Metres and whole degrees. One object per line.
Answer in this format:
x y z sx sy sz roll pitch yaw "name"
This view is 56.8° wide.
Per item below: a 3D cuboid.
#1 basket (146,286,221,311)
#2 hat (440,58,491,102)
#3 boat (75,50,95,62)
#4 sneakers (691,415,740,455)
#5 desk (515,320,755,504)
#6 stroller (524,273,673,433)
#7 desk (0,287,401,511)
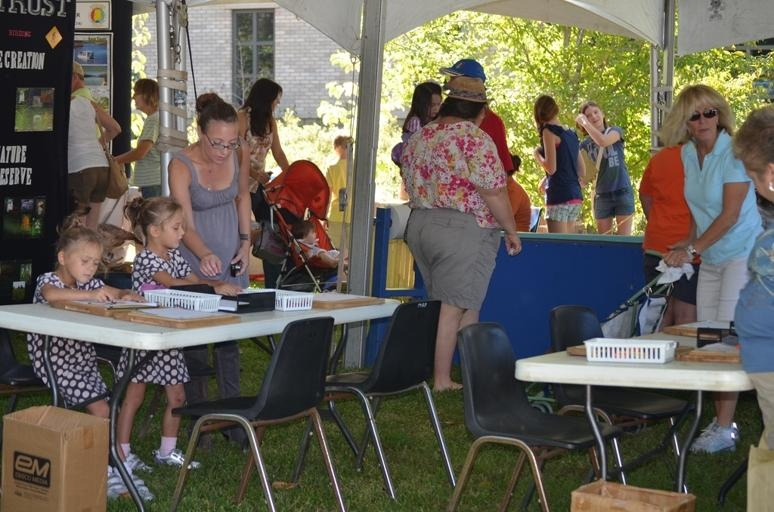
-1.123 0.242 3.933 0.326 0.078 0.170 6 4 30 "basket"
0.596 -1.331 5.458 0.404 0.233 0.253 22 5 -7 "hat"
-3.734 -2.465 8.882 0.256 0.111 0.141 6 7 41 "boat"
2.185 1.173 4.694 0.439 0.204 0.160 -3 8 -12 "sneakers"
1.228 0.639 3.528 0.767 0.521 0.807 2 6 20 "desk"
1.283 0.612 4.466 0.812 1.153 0.943 2 -8 -40 "stroller"
-0.976 0.734 3.893 1.941 0.946 0.995 0 5 -31 "desk"
